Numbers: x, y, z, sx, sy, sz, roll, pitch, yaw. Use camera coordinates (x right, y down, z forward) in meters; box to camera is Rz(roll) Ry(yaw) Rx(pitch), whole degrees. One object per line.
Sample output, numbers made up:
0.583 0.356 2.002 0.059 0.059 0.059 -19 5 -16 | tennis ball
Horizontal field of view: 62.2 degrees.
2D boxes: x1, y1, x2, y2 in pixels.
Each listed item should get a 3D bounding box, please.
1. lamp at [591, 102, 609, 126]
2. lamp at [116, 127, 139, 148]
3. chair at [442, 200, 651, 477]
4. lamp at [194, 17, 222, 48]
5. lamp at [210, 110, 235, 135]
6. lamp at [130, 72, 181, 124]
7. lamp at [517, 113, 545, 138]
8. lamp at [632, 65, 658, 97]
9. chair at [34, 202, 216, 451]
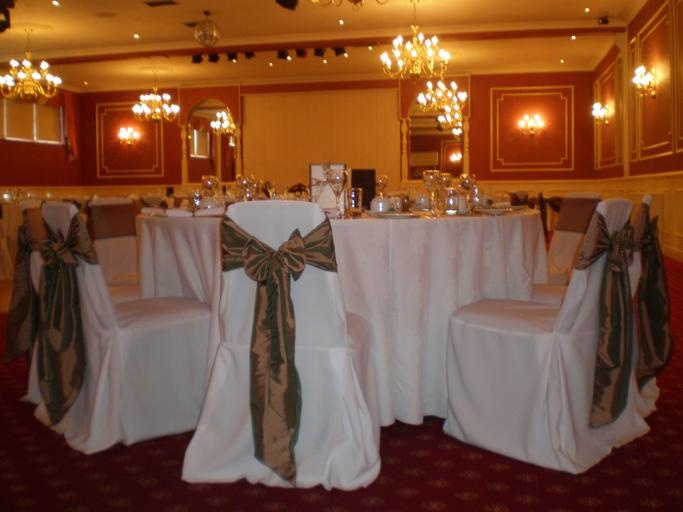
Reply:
4.757 -2.628 10.456 0.241 0.437 1.041 1 10 19 | lamp
-4.918 -2.734 12.945 0.617 0.463 0.349 2 9 27 | lamp
1.002 0.240 3.119 1.020 1.394 0.956 7 9 41 | chair
-1.704 -2.844 7.144 0.260 0.363 0.496 -4 9 -14 | lamp
-2.491 -2.840 11.971 0.466 0.469 1.006 -3 9 -10 | lamp
-3.839 -3.331 11.783 0.759 1.096 0.907 1 10 -1 | lamp
3.787 -2.644 11.343 0.388 0.534 0.446 2 7 9 | lamp
4.162 -2.413 7.831 0.249 0.475 0.601 1 9 21 | lamp
-1.092 0.305 3.355 0.968 1.526 0.973 -4 10 -32 | chair
